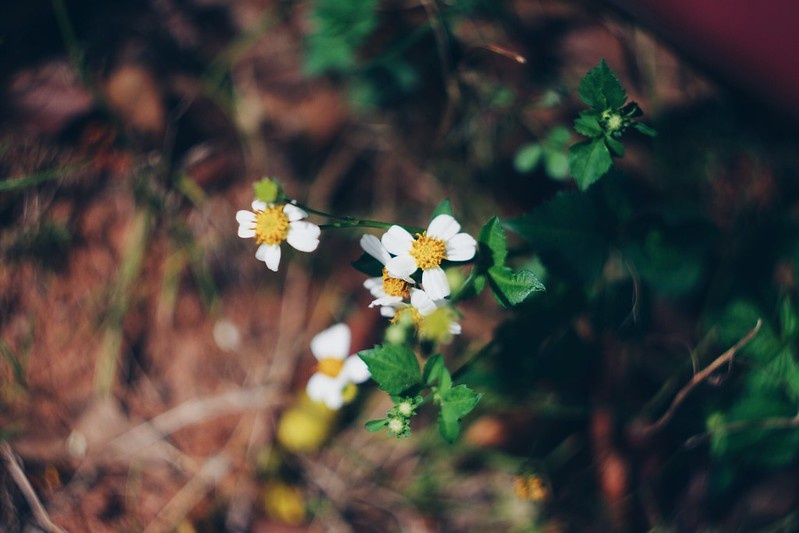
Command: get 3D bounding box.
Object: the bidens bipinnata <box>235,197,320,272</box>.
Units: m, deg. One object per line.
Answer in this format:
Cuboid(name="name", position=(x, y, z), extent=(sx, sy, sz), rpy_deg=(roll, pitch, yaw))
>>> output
Cuboid(name="bidens bipinnata", position=(-0.545, -0.161, 3.944), extent=(0.303, 0.335, 0.103), rpy_deg=(31, 17, 12))
